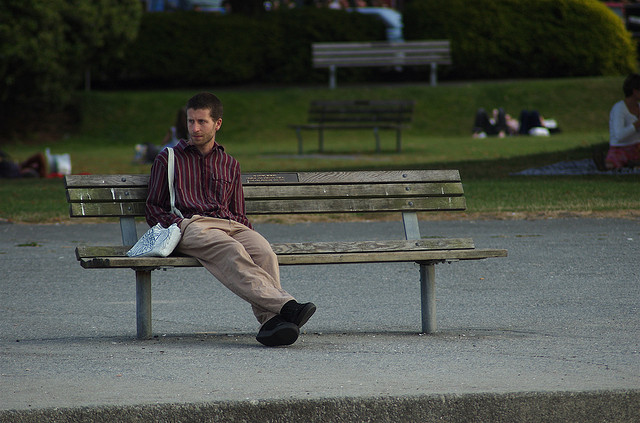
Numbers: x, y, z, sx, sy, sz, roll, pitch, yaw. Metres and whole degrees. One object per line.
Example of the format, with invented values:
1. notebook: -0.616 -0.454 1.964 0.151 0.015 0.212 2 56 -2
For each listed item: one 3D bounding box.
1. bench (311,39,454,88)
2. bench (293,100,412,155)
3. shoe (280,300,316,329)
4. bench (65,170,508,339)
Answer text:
1. bench: 1.188 -2.664 32.924 2.525 0.833 0.483 -2 9 -6
2. bench: 0.921 -2.125 41.247 3.212 1.212 1.203 1 5 17
3. shoe: -0.254 1.366 25.696 0.268 0.300 0.741 -15 -25 -1
4. bench: -0.569 0.527 26.078 6.099 1.949 1.846 -1 13 -13
